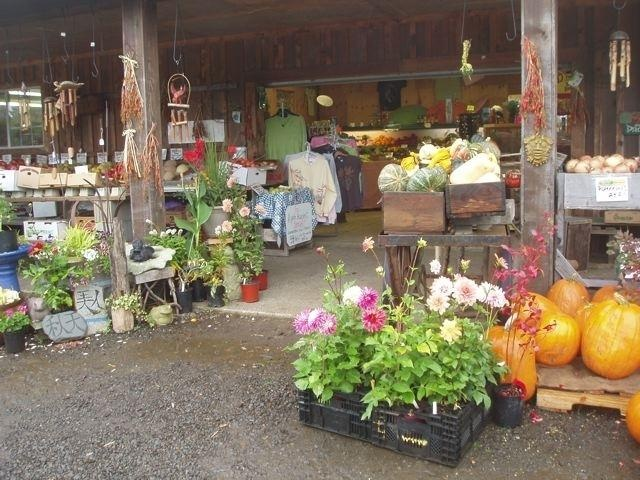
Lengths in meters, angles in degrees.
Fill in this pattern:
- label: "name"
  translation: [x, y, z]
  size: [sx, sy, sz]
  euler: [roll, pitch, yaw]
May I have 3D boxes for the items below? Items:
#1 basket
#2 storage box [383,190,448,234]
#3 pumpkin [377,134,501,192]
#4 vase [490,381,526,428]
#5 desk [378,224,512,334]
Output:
- label: "basket"
  translation: [0.546, 0.988, 3.262]
  size: [1.305, 0.294, 0.883]
  euler: [3, 10, 25]
- label: "storage box"
  translation: [0.638, -0.188, 3.332]
  size: [0.388, 0.286, 0.286]
  euler: [4, 10, 24]
- label: "pumpkin"
  translation: [0.883, -0.548, 3.625]
  size: [0.806, 0.329, 0.832]
  euler: [2, 13, 18]
- label: "vase"
  translation: [1.160, 1.022, 3.151]
  size: [0.201, 0.239, 0.266]
  euler: [4, 11, 7]
- label: "desk"
  translation: [0.933, 0.191, 3.757]
  size: [0.830, 0.757, 0.767]
  euler: [4, 9, 22]
